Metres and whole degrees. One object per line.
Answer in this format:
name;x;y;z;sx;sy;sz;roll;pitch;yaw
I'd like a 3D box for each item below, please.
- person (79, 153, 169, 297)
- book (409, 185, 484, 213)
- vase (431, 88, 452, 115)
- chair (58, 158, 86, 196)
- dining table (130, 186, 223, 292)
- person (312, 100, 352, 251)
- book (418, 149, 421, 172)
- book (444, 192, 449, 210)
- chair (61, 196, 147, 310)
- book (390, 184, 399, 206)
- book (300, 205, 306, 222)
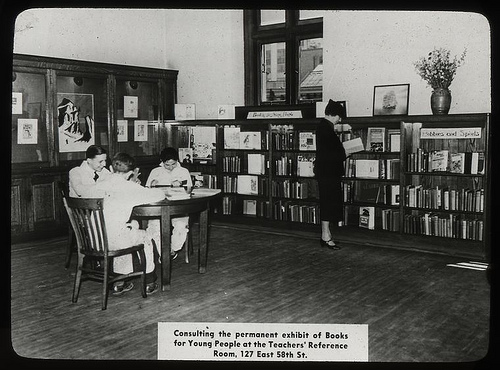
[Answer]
person;-1.355;0.346;4.484;0.758;1.399;0.662;-9;34;-26
book;2.714;0.187;5.854;0.949;0.294;0.177;4;8;32
vase;2.678;-1.177;5.925;0.245;0.359;0.271;4;8;29
chair;-2.377;-0.105;5.597;0.292;0.514;0.534;-4;-1;-34
dining table;-0.962;0.515;4.893;1.020;0.819;1.087;4;8;32
person;1.136;-0.132;6.028;0.436;2.120;0.233;1;7;9
book;2.398;-0.349;5.951;0.043;0.309;0.018;4;8;29
book;2.715;0.213;5.818;0.065;0.247;0.028;3;8;26
chair;-1.469;0.642;4.269;0.561;1.054;0.656;2;2;27
book;2.123;0.151;6.145;0.096;0.290;0.061;1;7;13
book;0.853;0.469;6.927;0.050;0.248;0.078;4;8;30
